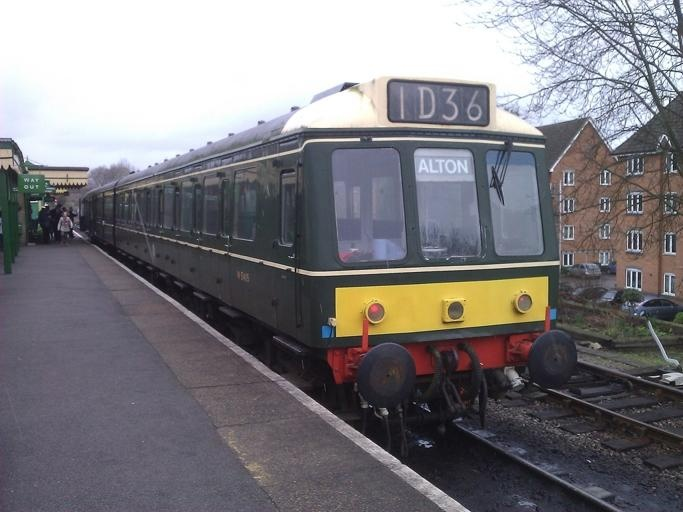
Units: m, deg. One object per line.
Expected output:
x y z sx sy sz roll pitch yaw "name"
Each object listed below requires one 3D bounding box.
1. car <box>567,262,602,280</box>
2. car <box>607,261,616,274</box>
17.249 1.096 36.042 0.990 0.957 1.844 -3 12 -14 "car"
30.465 1.405 57.198 0.774 1.139 2.689 2 5 32 "car"
